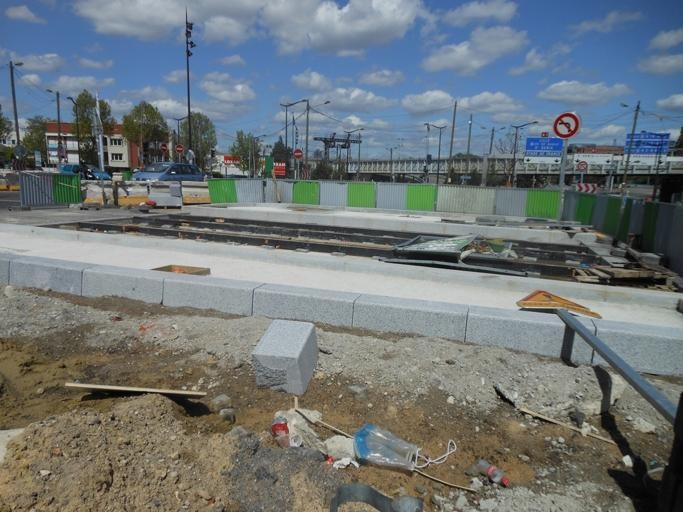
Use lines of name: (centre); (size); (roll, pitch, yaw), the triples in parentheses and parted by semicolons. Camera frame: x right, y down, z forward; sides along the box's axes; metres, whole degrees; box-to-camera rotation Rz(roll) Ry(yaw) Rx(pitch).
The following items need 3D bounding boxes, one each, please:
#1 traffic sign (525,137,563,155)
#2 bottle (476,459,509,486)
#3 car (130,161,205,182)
traffic sign: (10.095, -5.459, 21.625); (1.635, 0.983, 1.471); (5, 13, 20)
bottle: (1.412, 2.048, 4.062); (0.319, 0.117, 0.144); (11, 16, 40)
car: (-11.701, -5.554, 28.836); (2.165, 1.475, 3.696); (7, 11, 24)
